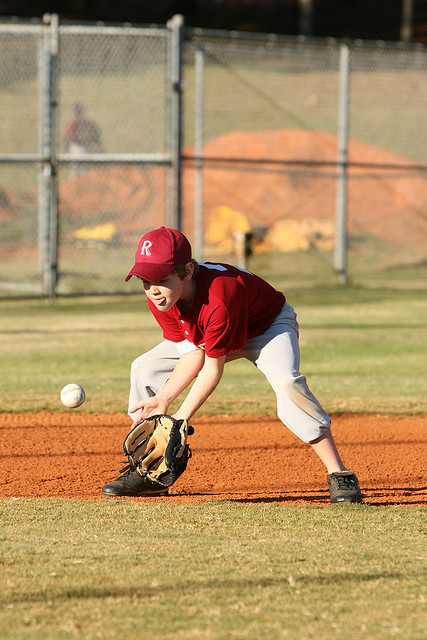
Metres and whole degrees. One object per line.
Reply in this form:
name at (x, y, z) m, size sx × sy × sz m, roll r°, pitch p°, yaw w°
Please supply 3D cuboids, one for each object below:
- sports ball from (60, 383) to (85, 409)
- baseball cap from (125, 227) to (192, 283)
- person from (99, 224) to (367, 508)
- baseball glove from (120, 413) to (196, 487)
sports ball at (-0.735, 0.394, 4.792) m, size 0.111 × 0.135 × 0.142 m, roll 0°, pitch 11°, yaw -11°
baseball cap at (-0.200, -0.246, 3.247) m, size 0.183 × 0.154 × 0.281 m, roll 8°, pitch 28°, yaw 30°
person at (0.049, 0.170, 3.547) m, size 1.032 × 1.009 × 0.640 m, roll -4°, pitch 4°, yaw 16°
baseball glove at (-0.300, 0.488, 3.581) m, size 0.262 × 0.116 × 0.216 m, roll -41°, pitch -5°, yaw 24°
